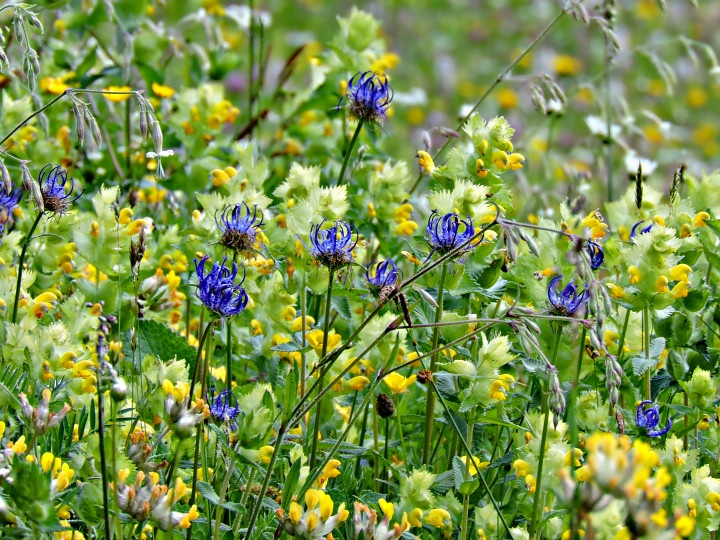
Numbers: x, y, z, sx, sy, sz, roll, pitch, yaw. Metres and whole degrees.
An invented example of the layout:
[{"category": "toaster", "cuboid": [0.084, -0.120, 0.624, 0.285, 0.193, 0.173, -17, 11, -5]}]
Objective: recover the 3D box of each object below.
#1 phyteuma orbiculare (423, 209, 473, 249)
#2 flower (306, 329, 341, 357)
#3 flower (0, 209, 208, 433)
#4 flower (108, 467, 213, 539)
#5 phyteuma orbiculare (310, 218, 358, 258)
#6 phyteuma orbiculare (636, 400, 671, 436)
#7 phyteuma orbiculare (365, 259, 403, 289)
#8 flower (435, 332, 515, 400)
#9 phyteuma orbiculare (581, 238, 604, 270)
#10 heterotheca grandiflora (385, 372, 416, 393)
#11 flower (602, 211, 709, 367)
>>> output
[{"category": "phyteuma orbiculare", "cuboid": [0.187, -0.083, 2.439, 0.068, 0.097, 0.078, 7, 12, 28]}, {"category": "flower", "cuboid": [-0.081, 0.145, 2.464, 0.042, 0.033, 0.055, 1, 10, -17]}, {"category": "flower", "cuboid": [-0.550, 0.115, 2.471, 0.268, 0.271, 0.369, -2, 45, 28]}, {"category": "flower", "cuboid": [-0.391, 0.433, 2.213, 0.114, 0.065, 0.121, 37, -4, 0]}, {"category": "phyteuma orbiculare", "cuboid": [-0.057, -0.057, 2.384, 0.068, 0.094, 0.078, -2, 13, -20]}, {"category": "phyteuma orbiculare", "cuboid": [0.614, 0.309, 2.481, 0.044, 0.058, 0.047, 15, 56, 49]}, {"category": "phyteuma orbiculare", "cuboid": [0.042, 0.007, 2.411, 0.057, 0.069, 0.048, 0, -26, 2]}, {"category": "flower", "cuboid": [0.259, 0.204, 2.423, 0.108, 0.162, 0.128, -1, -7, 9]}, {"category": "phyteuma orbiculare", "cuboid": [0.487, -0.032, 2.446, 0.022, 0.077, 0.054, -12, 9, -26]}, {"category": "heterotheca grandiflora", "cuboid": [0.082, 0.222, 2.474, 0.041, 0.043, 0.048, 5, 3, 11]}, {"category": "flower", "cuboid": [0.644, 0.050, 2.561, 0.149, 0.276, 0.172, -22, 34, -28]}]
